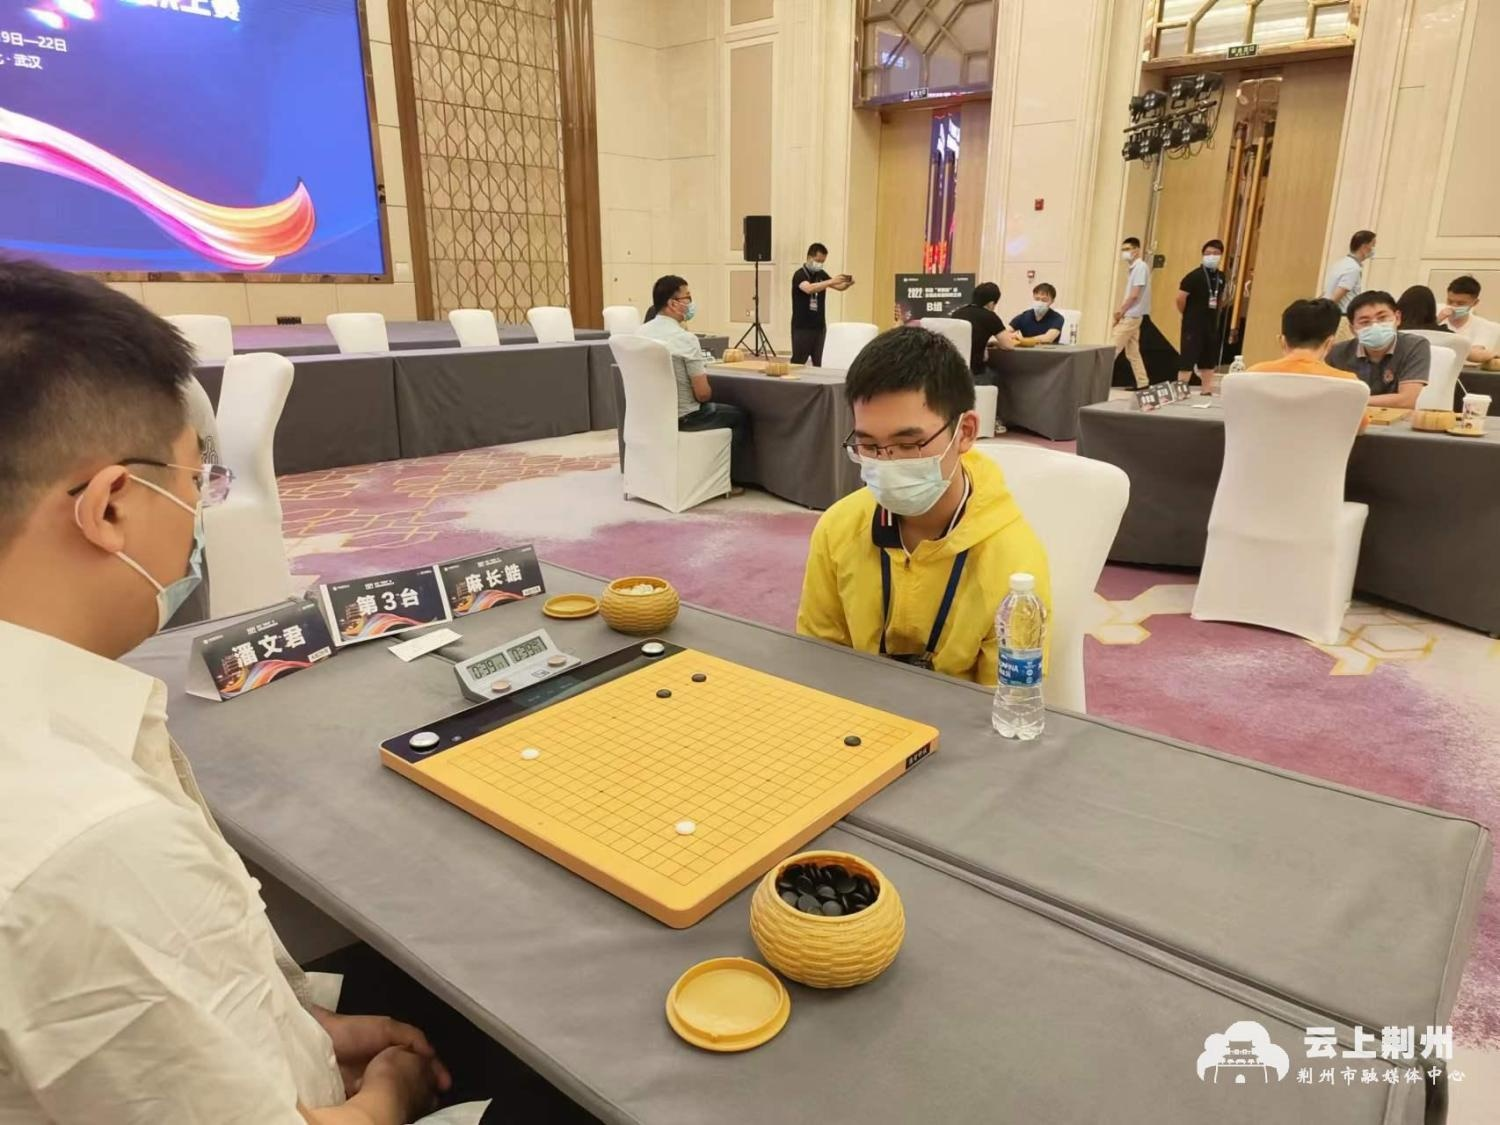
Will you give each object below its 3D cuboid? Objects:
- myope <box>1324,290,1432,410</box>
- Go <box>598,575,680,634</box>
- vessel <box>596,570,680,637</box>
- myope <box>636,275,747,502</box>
[{"bbox_3d":[2.832,-0.936,4.287,0.342,0.537,0.399,-20,17,-37],"label":"myope"},{"bbox_3d":[-0.196,0.067,1.691,0.110,0.056,0.115,0,10,-1],"label":"Go"},{"bbox_3d":[-0.196,0.070,1.708,0.113,0.057,0.118,0,10,0],"label":"vessel"},{"bbox_3d":[-0.379,-1.006,5.271,0.563,1.242,0.600,-9,20,-42],"label":"myope"}]
